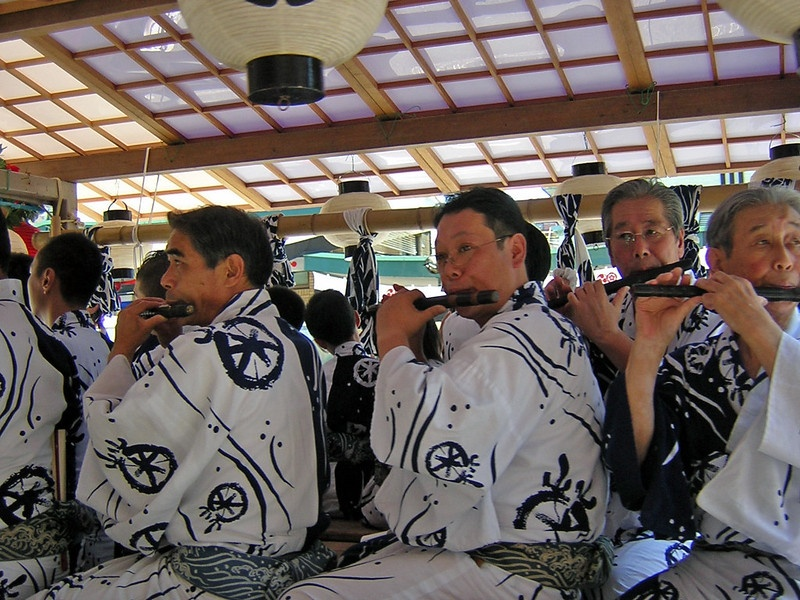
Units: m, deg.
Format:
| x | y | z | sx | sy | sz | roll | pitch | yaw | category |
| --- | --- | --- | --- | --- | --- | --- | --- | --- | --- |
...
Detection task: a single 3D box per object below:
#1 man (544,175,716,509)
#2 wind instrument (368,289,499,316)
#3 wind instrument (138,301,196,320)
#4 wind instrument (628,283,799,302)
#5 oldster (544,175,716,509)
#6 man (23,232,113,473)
| x | y | z | sx | sy | sz | roll | pitch | yaw | category |
| --- | --- | --- | --- | --- | --- | --- | --- | --- | --- |
| 0.932 | -0.060 | 2.563 | 0.279 | 0.837 | 0.688 | 3 | -38 | 31 | man |
| 0.111 | 0.017 | 2.159 | 0.424 | 0.061 | 0.077 | -2 | 26 | 24 | wind instrument |
| -0.858 | 0.041 | 2.399 | 0.311 | 0.077 | 0.065 | -2 | 21 | 42 | wind instrument |
| 0.873 | -0.019 | 1.860 | 0.472 | 0.045 | 0.048 | 2 | -1 | 5 | wind instrument |
| 0.926 | -0.095 | 2.605 | 0.279 | 0.837 | 0.688 | 3 | -38 | 31 | oldster |
| -1.574 | 0.225 | 3.102 | 0.436 | 1.026 | 0.342 | 6 | 19 | -37 | man |
